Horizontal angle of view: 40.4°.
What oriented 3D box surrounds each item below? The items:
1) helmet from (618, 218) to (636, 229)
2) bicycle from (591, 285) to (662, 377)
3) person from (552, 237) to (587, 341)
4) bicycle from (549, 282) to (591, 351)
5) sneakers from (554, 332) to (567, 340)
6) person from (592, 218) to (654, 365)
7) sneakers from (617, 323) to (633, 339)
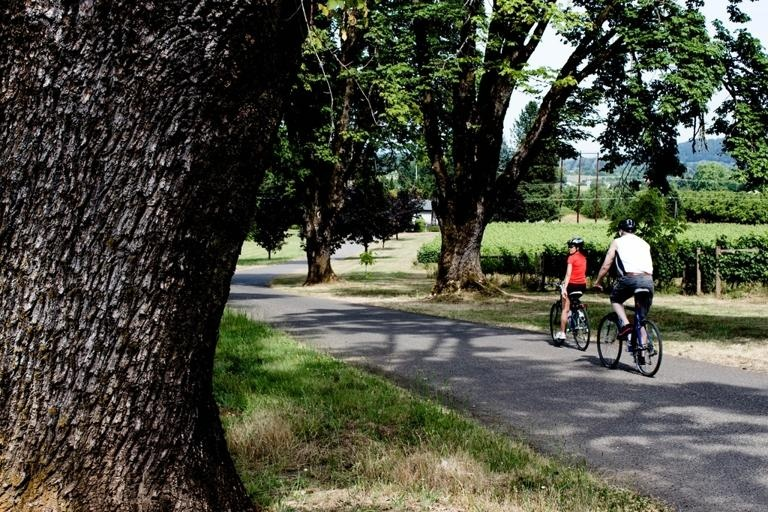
[{"bbox_3d":[3.597,-0.464,15.330,0.193,0.219,0.223,3,15,3],"label":"helmet"},{"bbox_3d":[3.938,1.260,15.752,0.702,0.973,1.532,-1,5,-12],"label":"bicycle"},{"bbox_3d":[3.196,0.598,17.772,0.455,1.323,0.845,3,-1,7],"label":"person"},{"bbox_3d":[3.227,1.059,17.923,0.579,0.789,1.239,0,8,-10],"label":"bicycle"},{"bbox_3d":[3.019,1.352,17.645,0.093,0.103,0.239,2,5,2],"label":"sneakers"},{"bbox_3d":[3.590,0.489,15.526,0.844,1.491,1.258,3,-2,10],"label":"person"},{"bbox_3d":[3.615,1.124,15.499,0.205,0.146,0.082,-43,-19,10],"label":"sneakers"}]
